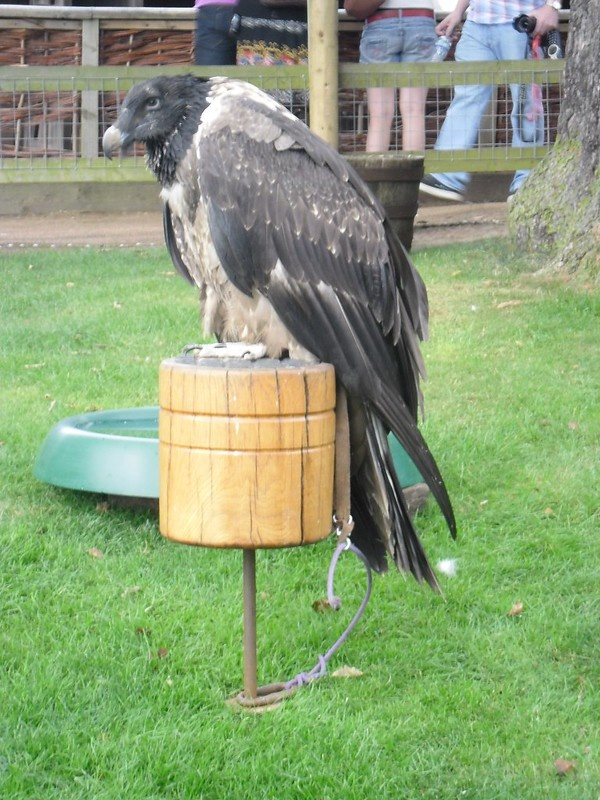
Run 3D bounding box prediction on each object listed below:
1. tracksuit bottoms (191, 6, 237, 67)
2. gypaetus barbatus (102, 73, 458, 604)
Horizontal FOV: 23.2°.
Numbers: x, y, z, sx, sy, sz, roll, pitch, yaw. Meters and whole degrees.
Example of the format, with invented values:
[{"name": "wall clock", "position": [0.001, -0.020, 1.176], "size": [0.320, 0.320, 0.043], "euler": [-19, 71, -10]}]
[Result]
[{"name": "tracksuit bottoms", "position": [-0.372, -1.622, 6.435], "size": [0.171, 0.290, 0.306], "euler": [0, 9, -3]}, {"name": "gypaetus barbatus", "position": [-0.034, -0.281, 4.099], "size": [0.938, 1.253, 0.455], "euler": [2, 8, 7]}]
